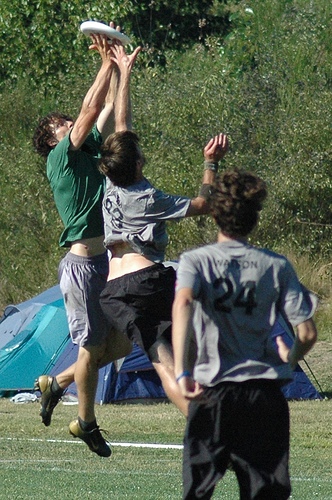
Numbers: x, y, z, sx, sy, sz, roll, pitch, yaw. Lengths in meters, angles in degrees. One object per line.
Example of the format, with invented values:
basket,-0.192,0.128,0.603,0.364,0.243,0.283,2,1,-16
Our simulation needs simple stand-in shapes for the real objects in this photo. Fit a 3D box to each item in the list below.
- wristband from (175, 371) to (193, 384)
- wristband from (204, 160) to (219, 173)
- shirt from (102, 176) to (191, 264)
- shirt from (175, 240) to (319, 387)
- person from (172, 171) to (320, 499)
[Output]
wristband,0.074,0.602,4.953,0.065,0.064,0.017,-18,66,-27
wristband,0.258,-0.477,5.899,0.067,0.055,0.070,4,11,0
shirt,-0.123,-0.151,5.987,0.550,0.452,0.253,13,42,25
shirt,0.394,0.324,5.056,0.743,0.755,0.379,-4,3,-3
person,0.389,0.443,4.993,0.685,1.204,1.090,-2,38,8
